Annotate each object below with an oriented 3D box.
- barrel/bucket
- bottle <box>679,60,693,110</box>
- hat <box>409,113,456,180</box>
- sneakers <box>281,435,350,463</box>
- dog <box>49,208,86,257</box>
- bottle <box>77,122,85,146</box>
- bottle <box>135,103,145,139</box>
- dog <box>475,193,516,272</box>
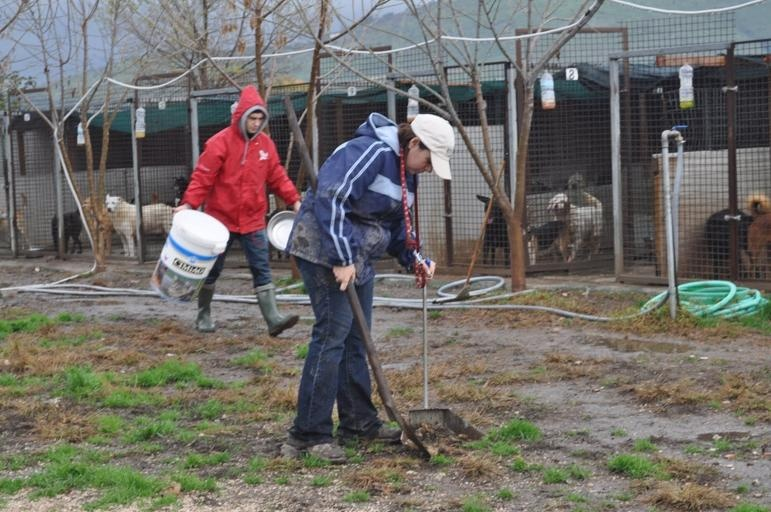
[{"bbox_3d":[-2.334,0.004,13.520,0.920,1.119,0.410,-2,4,-12],"label":"barrel/bucket"},{"bbox_3d":[4.259,-2.404,15.876,0.182,0.609,0.349,0,4,12],"label":"bottle"},{"bbox_3d":[0.520,-1.105,11.056,0.370,0.632,0.411,-42,-10,23],"label":"hat"},{"bbox_3d":[-0.676,1.889,11.149,0.642,0.272,0.248,0,0,6],"label":"sneakers"},{"bbox_3d":[-5.976,-0.472,21.416,0.655,0.808,0.274,1,6,2],"label":"dog"},{"bbox_3d":[-5.290,-2.144,19.645,0.111,0.374,0.698,-3,4,-19],"label":"bottle"},{"bbox_3d":[-4.252,-2.321,19.605,0.179,0.526,0.457,-2,4,-12],"label":"bottle"},{"bbox_3d":[1.730,-0.347,17.658,0.434,0.996,0.406,-1,4,4],"label":"dog"}]
